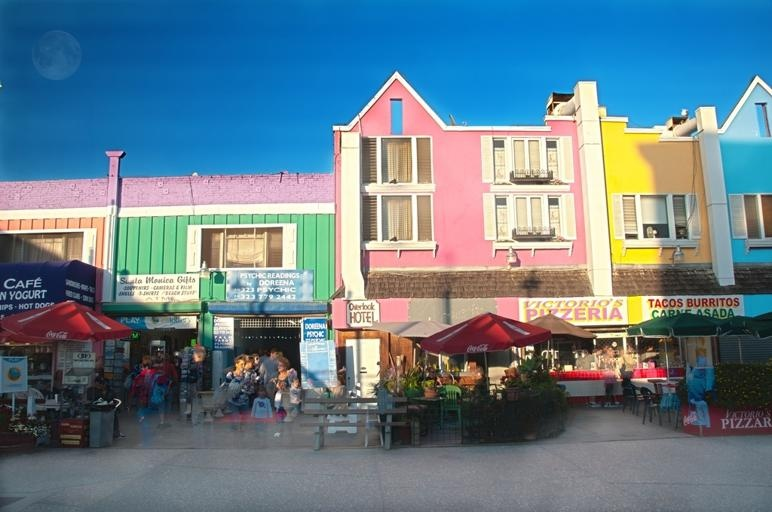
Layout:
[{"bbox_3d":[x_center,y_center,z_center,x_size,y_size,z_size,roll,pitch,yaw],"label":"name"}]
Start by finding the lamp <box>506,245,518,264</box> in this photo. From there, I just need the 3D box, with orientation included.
[{"bbox_3d":[4.925,0.001,28.641,0.597,0.771,0.577,1,3,8],"label":"lamp"}]

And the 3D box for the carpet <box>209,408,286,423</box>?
[{"bbox_3d":[-4.341,5.030,23.012,1.175,0.243,1.181,-1,-1,12],"label":"carpet"}]

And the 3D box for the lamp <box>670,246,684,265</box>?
[{"bbox_3d":[11.451,-0.039,28.596,0.594,0.973,0.590,0,-1,3],"label":"lamp"}]

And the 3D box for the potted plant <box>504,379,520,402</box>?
[{"bbox_3d":[3.574,3.869,20.993,0.432,0.556,0.406,-3,-12,7],"label":"potted plant"}]

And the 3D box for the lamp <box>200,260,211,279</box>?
[{"bbox_3d":[-7.378,0.544,29.554,0.493,0.814,0.379,-11,-15,41],"label":"lamp"}]

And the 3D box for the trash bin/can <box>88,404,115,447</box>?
[{"bbox_3d":[-7.815,4.675,20.039,0.638,1.120,0.446,5,-13,-26],"label":"trash bin/can"}]

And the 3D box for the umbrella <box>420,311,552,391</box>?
[{"bbox_3d":[2.922,2.711,21.321,2.530,1.707,2.523,3,-14,-35],"label":"umbrella"}]

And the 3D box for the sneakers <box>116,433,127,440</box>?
[{"bbox_3d":[-7.705,5.237,21.190,0.163,0.198,0.473,1,-14,-14],"label":"sneakers"}]
